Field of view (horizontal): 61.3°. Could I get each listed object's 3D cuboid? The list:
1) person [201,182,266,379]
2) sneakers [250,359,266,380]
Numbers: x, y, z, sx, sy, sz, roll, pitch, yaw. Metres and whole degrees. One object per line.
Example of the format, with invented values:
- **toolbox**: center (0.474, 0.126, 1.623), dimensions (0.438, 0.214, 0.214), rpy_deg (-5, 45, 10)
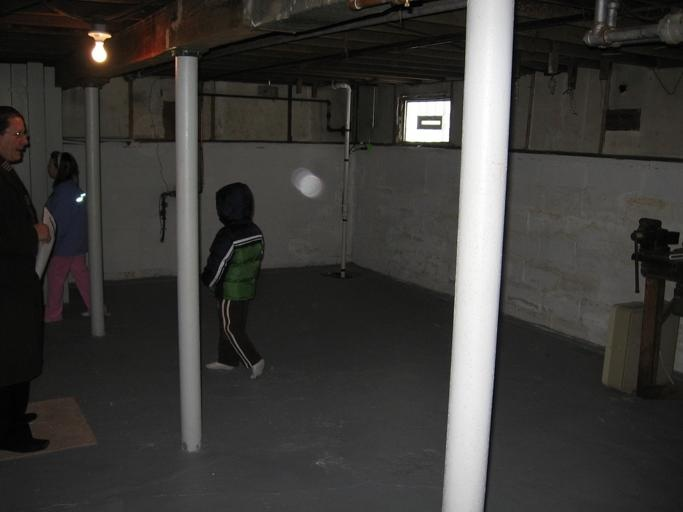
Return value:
- **person**: center (-1.022, 0.256, 5.448), dimensions (0.587, 1.837, 0.472), rpy_deg (-2, 13, -17)
- **sneakers**: center (-0.805, 1.085, 5.558), dimensions (0.098, 0.248, 0.075), rpy_deg (13, 33, 1)
